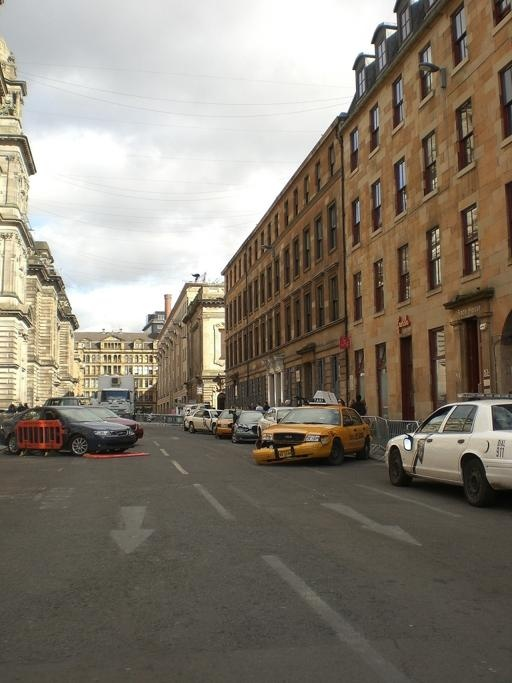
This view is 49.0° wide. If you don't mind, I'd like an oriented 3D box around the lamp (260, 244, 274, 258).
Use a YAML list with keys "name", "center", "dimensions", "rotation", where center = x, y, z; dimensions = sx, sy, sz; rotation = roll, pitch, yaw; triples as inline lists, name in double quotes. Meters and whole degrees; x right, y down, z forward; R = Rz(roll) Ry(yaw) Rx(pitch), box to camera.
- name: "lamp"
  center: [1.263, -8.300, 51.130]
  dimensions: [0.851, 0.565, 1.438]
  rotation: [-11, 14, -13]

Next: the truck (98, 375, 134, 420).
- name: "truck"
  center: [-14.609, 6.889, 59.521]
  dimensions: [3.308, 5.410, 7.606]
  rotation: [1, -20, -19]

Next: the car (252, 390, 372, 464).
- name: "car"
  center: [1.830, 2.837, 17.213]
  dimensions: [1.859, 1.788, 4.078]
  rotation: [-6, -10, 41]

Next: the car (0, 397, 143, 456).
- name: "car"
  center: [-7.019, 3.317, 21.052]
  dimensions: [6.083, 1.751, 2.491]
  rotation: [-4, -8, 26]
